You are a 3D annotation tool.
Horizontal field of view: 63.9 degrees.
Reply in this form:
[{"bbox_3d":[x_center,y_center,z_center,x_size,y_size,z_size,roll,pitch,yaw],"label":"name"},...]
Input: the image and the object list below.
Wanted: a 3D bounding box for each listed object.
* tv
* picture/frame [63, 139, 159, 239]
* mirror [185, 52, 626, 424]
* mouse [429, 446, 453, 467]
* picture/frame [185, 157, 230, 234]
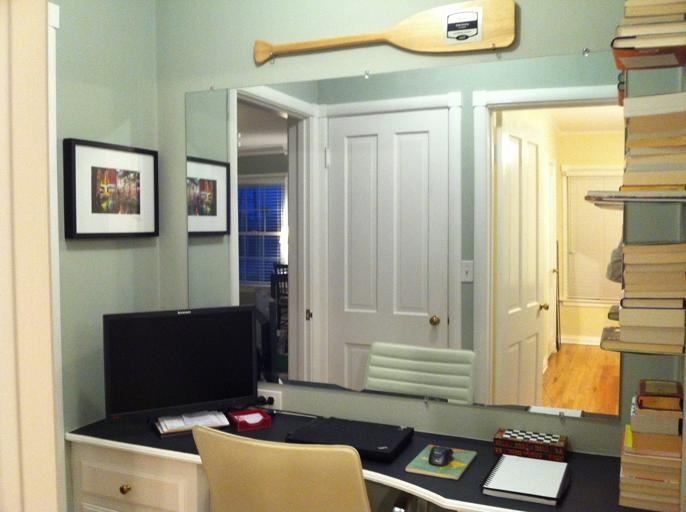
[{"bbox_3d":[-0.626,0.423,2.125,0.426,0.338,0.037,-1,-2,-26],"label":"tv"},{"bbox_3d":[-0.953,-0.271,2.230,0.030,0.366,0.412,3,4,31],"label":"picture/frame"},{"bbox_3d":[0.284,-0.042,2.052,1.342,1.132,0.182,1,1,23],"label":"mirror"},{"bbox_3d":[0.319,0.656,1.801,0.042,0.023,0.065,0,5,18],"label":"mouse"},{"bbox_3d":[-0.574,-0.262,2.372,0.306,0.383,0.024,0,3,24],"label":"picture/frame"}]
